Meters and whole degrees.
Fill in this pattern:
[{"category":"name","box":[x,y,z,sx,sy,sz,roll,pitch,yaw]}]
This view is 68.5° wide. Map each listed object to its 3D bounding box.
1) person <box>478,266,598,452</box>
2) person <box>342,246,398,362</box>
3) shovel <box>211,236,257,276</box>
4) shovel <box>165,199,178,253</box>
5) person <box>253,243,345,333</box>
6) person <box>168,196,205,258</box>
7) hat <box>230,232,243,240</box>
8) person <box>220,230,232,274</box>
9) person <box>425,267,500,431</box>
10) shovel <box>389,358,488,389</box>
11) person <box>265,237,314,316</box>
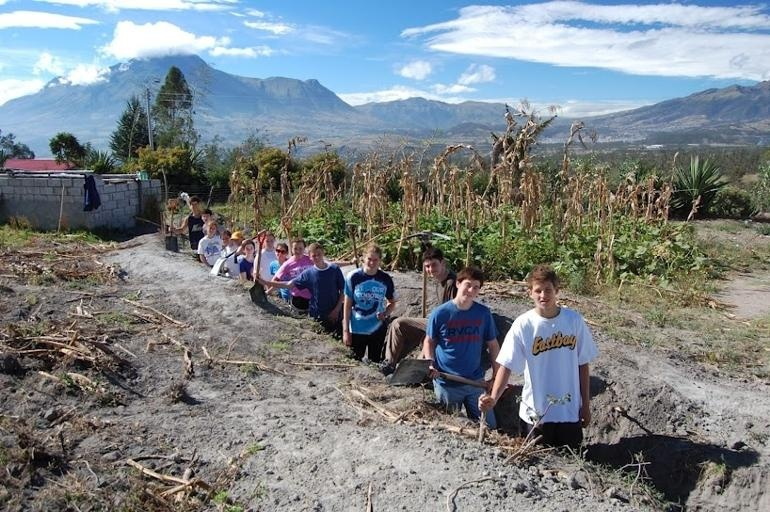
[{"category":"person","box":[1.495,0.970,5.360,0.985,1.735,0.274,1,10,-8]},{"category":"person","box":[-0.199,0.941,7.457,0.759,2.183,0.588,4,24,3]},{"category":"shovel","box":[-2.582,-0.016,9.558,0.259,0.473,0.483,23,29,24]},{"category":"shovel","box":[-4.258,-0.574,11.211,0.198,1.119,0.257,17,22,34]},{"category":"person","box":[-1.260,0.522,8.153,1.075,1.264,0.293,-9,29,-4]},{"category":"person","box":[-3.920,-0.602,11.422,0.491,1.246,2.225,-2,10,-20]},{"category":"hat","box":[-2.446,-0.347,9.387,0.202,0.102,0.151,21,-17,-38]},{"category":"person","box":[-2.697,-0.065,9.642,0.163,0.811,0.242,8,-13,-16]},{"category":"person","box":[0.823,1.252,5.872,0.796,2.249,0.797,0,6,19]},{"category":"shovel","box":[0.487,1.216,5.787,0.814,0.435,0.175,8,30,-21]},{"category":"person","box":[-1.434,0.364,8.439,1.027,1.336,0.298,-5,24,-18]}]
